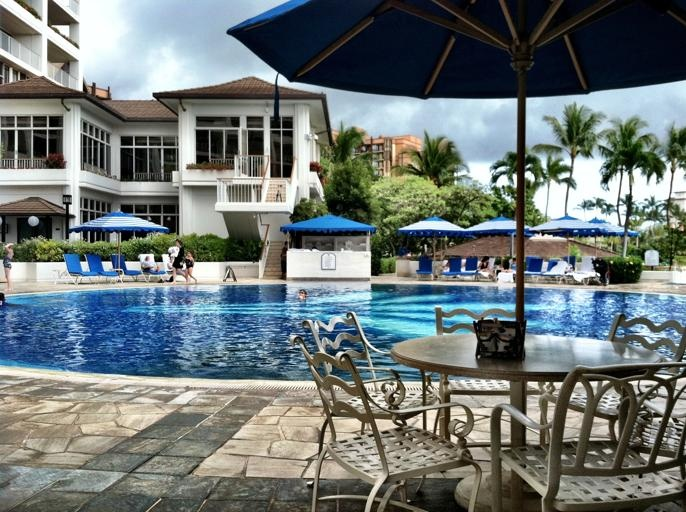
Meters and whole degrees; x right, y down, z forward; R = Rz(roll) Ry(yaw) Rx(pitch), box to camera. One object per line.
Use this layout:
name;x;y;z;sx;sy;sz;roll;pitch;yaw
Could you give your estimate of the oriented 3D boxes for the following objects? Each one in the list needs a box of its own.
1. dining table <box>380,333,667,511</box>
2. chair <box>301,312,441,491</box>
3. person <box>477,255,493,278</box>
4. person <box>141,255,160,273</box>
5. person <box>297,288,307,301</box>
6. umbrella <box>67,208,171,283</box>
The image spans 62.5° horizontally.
dining table;1.183;0.724;3.776;1.465;0.774;1.353;-1;2;-10
chair;0.400;1.216;4.756;0.765;0.835;0.624;-8;-2;-6
person;7.288;0.509;28.277;1.154;1.178;1.310;3;3;7
person;-8.538;0.281;24.765;0.681;0.493;0.991;-1;12;-39
person;-1.287;1.226;18.035;0.241;0.288;0.746;-1;-2;-5
umbrella;-9.777;-0.745;24.774;3.915;2.348;3.867;3;4;38
